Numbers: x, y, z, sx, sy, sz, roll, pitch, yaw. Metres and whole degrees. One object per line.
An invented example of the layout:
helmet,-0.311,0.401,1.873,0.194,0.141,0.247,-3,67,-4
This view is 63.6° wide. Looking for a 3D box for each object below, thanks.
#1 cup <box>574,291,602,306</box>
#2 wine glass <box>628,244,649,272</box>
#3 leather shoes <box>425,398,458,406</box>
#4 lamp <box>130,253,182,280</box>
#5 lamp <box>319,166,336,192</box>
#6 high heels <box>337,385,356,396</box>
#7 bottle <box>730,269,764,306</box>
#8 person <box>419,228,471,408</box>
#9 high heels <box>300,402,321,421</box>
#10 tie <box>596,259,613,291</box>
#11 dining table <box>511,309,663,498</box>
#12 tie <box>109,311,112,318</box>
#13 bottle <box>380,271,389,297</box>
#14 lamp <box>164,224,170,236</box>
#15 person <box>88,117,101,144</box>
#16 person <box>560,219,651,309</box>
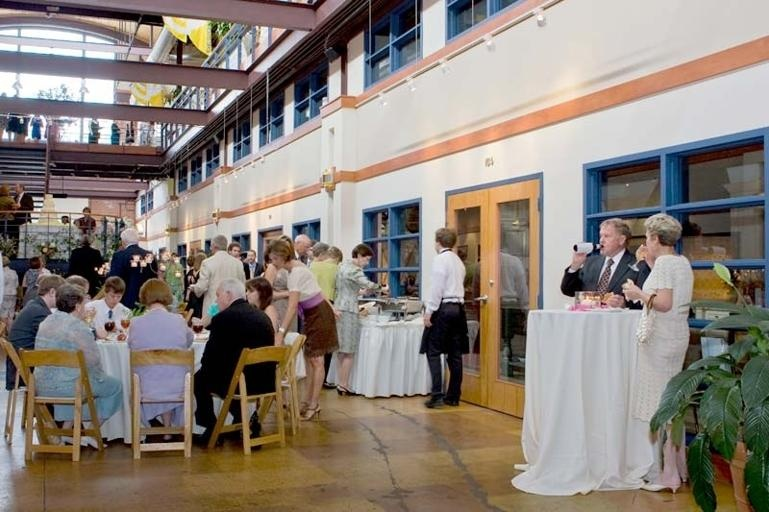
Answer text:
cup,1.771,0.371,5.413,0.140,0.090,0.141,0,1,0
wine glass,2.324,0.011,5.662,0.085,0.203,0.193,25,14,-49
leather shoes,0.703,1.811,7.654,0.365,0.161,0.149,5,-7,-12
lamp,-3.297,0.143,9.049,0.483,0.230,0.584,2,-4,-17
lamp,-1.019,-1.386,11.079,0.205,0.551,0.539,0,0,-24
high heels,-0.481,1.806,8.326,0.305,0.135,0.104,4,-2,-17
bottle,3.134,0.257,5.374,0.063,0.264,0.269,-5,17,-26
person,0.740,0.752,7.553,0.597,2.187,0.431,0,3,-4
high heels,-0.849,1.796,7.111,0.221,0.094,0.131,3,-5,-39
tie,2.122,0.196,5.955,0.075,0.437,0.102,14,-10,14
dining table,1.628,1.225,5.752,1.342,1.477,1.529,8,-8,-43
tie,-3.077,0.655,6.945,0.017,0.069,0.049,2,4,43
bottle,-0.039,0.437,9.994,0.113,0.309,0.215,7,-11,-39
lamp,-8.236,-1.021,23.457,0.219,0.414,0.417,7,-11,-31
person,-11.564,-4.978,24.702,0.444,1.153,2.220,-1,3,-25
person,2.121,0.072,5.873,0.395,1.120,0.616,24,-26,-28
